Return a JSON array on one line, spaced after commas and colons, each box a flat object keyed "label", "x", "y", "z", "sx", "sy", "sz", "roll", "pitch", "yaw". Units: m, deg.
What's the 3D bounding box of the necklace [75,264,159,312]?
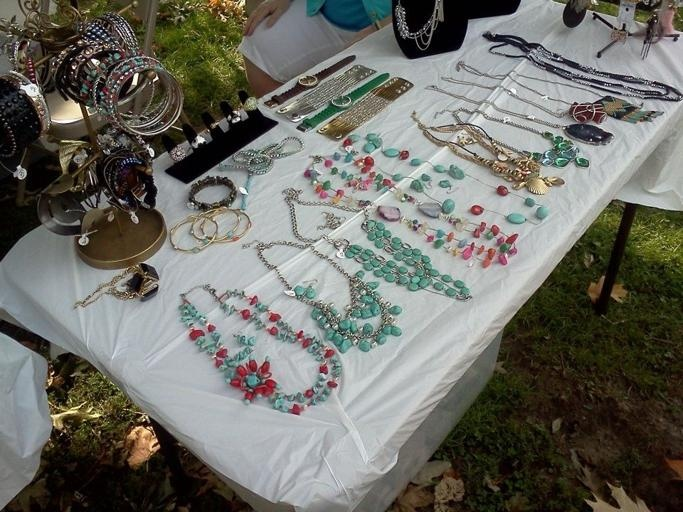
[{"label": "necklace", "x": -0.794, "y": 0.112, "z": 1.714, "sx": 0.240, "sy": 0.158, "sz": 0.082, "roll": -26, "pitch": 43, "yaw": -6}]
